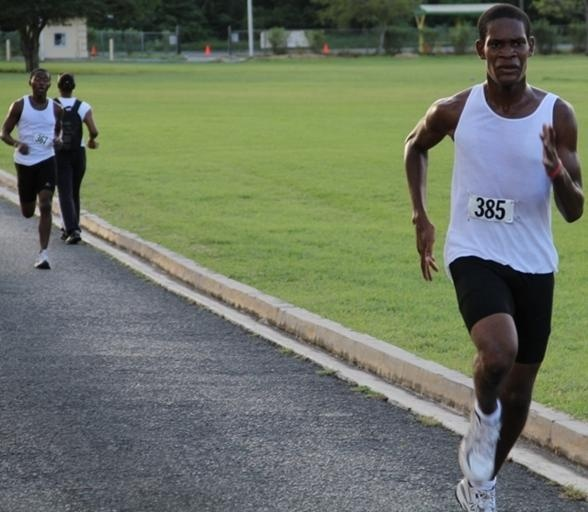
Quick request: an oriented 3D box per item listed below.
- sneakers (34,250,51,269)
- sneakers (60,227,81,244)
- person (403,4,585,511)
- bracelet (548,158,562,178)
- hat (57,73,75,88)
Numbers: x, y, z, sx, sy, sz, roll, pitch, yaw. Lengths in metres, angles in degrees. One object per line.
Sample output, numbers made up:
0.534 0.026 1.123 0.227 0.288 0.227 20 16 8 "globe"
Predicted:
-2.462 0.027 11.012 0.155 0.166 0.259 -2 12 -13 "sneakers"
-2.467 -0.225 12.396 0.120 0.135 0.315 -1 11 -27 "sneakers"
1.023 -0.012 5.867 0.701 2.551 0.900 -7 13 -30 "person"
1.290 -0.435 5.535 0.031 0.079 0.061 17 -12 -20 "bracelet"
-2.463 -1.937 12.197 0.167 0.180 0.183 0 52 -8 "hat"
